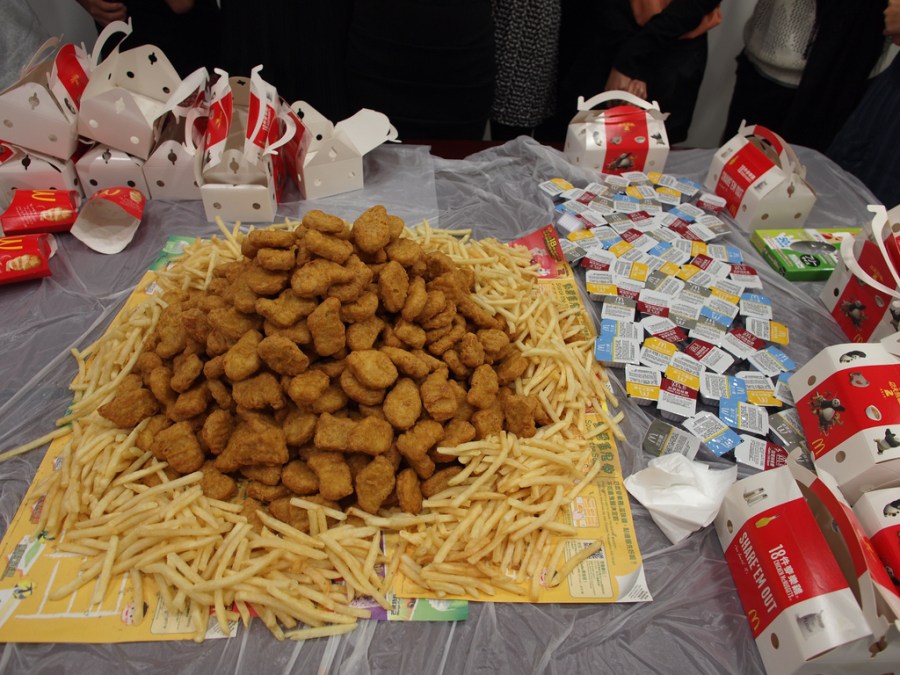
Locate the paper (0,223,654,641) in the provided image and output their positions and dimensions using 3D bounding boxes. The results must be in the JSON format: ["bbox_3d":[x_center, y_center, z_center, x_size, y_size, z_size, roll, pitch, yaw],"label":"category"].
[{"bbox_3d":[-0.409,0.267,1.997,2.127,0.701,1.209,-3,52,-8],"label":"paper"}]
